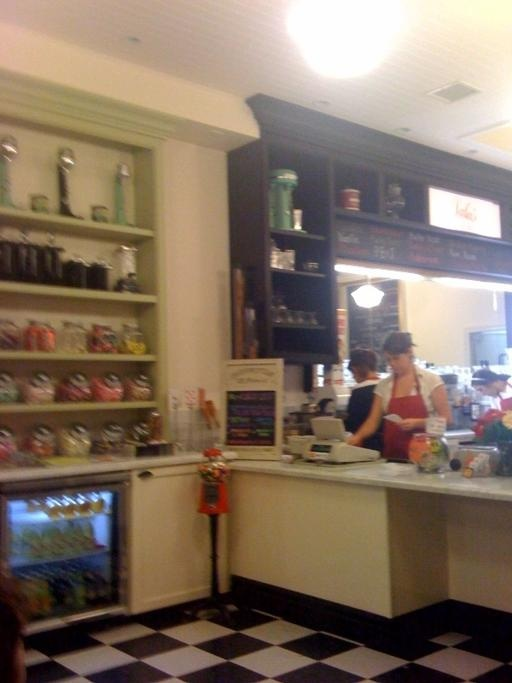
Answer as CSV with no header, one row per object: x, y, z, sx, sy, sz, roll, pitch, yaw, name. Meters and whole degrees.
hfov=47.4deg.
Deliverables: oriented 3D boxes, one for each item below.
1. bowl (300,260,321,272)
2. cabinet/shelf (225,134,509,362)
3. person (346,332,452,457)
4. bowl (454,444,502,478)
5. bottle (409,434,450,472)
0.394,-0.570,4.473,0.167,0.085,0.110,-2,-1,31,bowl
0.887,-0.760,4.883,2.616,1.438,0.459,-1,-1,-37,cabinet/shelf
0.941,0.358,3.708,0.558,0.747,0.644,-2,-1,17,person
1.007,0.529,2.649,0.167,0.100,0.160,0,-4,0,bowl
0.869,0.542,2.823,0.235,0.173,0.146,-2,-1,-26,bottle
